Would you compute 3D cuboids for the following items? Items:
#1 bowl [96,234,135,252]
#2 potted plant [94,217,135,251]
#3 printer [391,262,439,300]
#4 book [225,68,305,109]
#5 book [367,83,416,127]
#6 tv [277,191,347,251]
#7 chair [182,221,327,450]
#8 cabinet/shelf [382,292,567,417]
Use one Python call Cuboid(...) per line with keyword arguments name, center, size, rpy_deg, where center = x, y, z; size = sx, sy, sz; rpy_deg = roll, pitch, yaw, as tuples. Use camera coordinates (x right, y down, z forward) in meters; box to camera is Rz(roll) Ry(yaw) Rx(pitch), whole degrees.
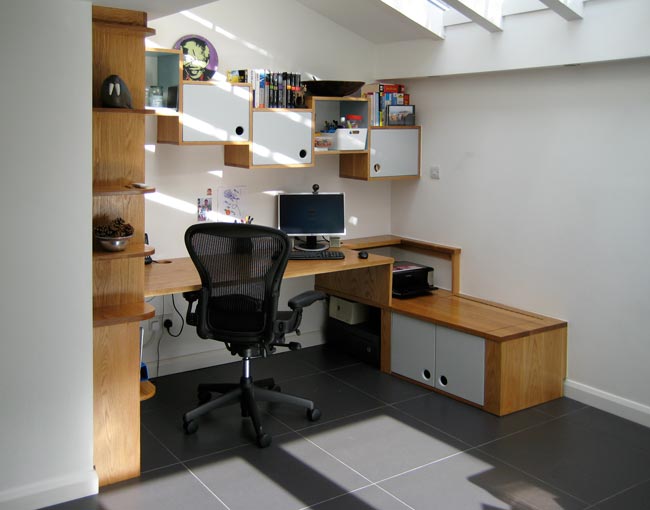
Cuboid(name="bowl", center=(-1.183, -0.066, 2.772), size=(0.203, 0.088, 0.103), rpy_deg=(1, 11, 3))
Cuboid(name="potted plant", center=(-1.174, -0.095, 2.810), size=(0.195, 0.166, 0.191), rpy_deg=(-5, 13, -37))
Cuboid(name="printer", center=(0.762, 0.223, 4.356), size=(0.256, 0.182, 0.352), rpy_deg=(-3, 5, -31))
Cuboid(name="book", center=(-0.462, -1.327, 4.046), size=(0.613, 0.280, 0.164), rpy_deg=(-5, 12, -24))
Cuboid(name="book", center=(0.596, -1.348, 4.558), size=(0.416, 0.421, 0.221), rpy_deg=(-2, 2, -27))
Cuboid(name="tv", center=(-0.108, -0.304, 4.447), size=(0.587, 0.519, 0.295), rpy_deg=(0, 16, 1))
Cuboid(name="chair", center=(-0.489, 0.450, 3.472), size=(0.835, 1.381, 0.740), rpy_deg=(4, 7, 13))
Cuboid(name="cabinet/shelf", center=(1.164, 0.731, 3.976), size=(0.680, 0.579, 1.253), rpy_deg=(-10, 16, -42))
